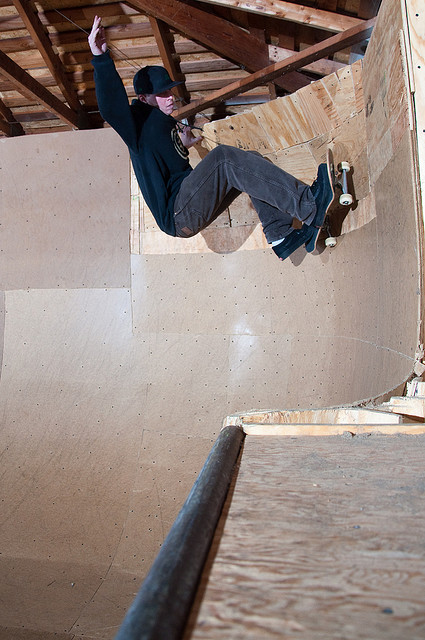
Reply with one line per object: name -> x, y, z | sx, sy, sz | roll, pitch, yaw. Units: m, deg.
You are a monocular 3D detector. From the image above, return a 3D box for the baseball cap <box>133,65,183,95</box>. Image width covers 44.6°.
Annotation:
baseball cap -> -0.292, -1.266, 2.767 | 0.214, 0.121, 0.140 | -4, 36, 19
